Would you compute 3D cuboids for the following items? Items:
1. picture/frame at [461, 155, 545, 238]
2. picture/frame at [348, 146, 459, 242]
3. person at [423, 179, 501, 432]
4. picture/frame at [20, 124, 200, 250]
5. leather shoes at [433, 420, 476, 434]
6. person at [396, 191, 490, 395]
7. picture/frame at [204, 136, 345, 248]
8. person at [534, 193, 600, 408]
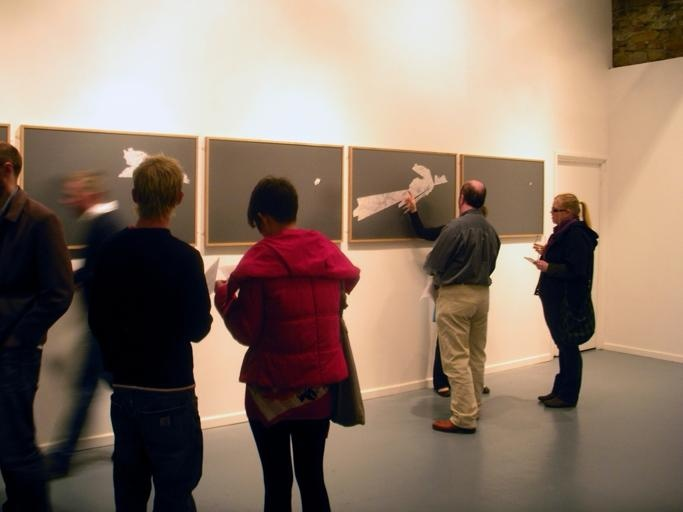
[{"bbox_3d":[1.531,-0.581,5.367,0.830,0.662,0.029,0,-1,-35],"label":"picture/frame"},{"bbox_3d":[0.511,-0.541,4.990,0.829,0.634,0.034,-2,2,-35],"label":"picture/frame"},{"bbox_3d":[0.977,0.380,4.431,0.528,1.912,0.497,-1,8,-11],"label":"person"},{"bbox_3d":[-1.517,-0.442,3.477,0.846,0.654,0.029,2,-7,-34],"label":"picture/frame"},{"bbox_3d":[0.858,1.279,4.353,0.252,0.106,0.128,8,2,22],"label":"leather shoes"},{"bbox_3d":[1.053,0.409,5.412,0.605,2.299,0.572,-8,21,-2],"label":"person"},{"bbox_3d":[-0.534,-0.473,3.986,0.855,0.658,0.028,0,-2,-30],"label":"picture/frame"},{"bbox_3d":[1.943,0.379,4.870,0.516,1.796,0.431,3,8,20],"label":"person"}]
